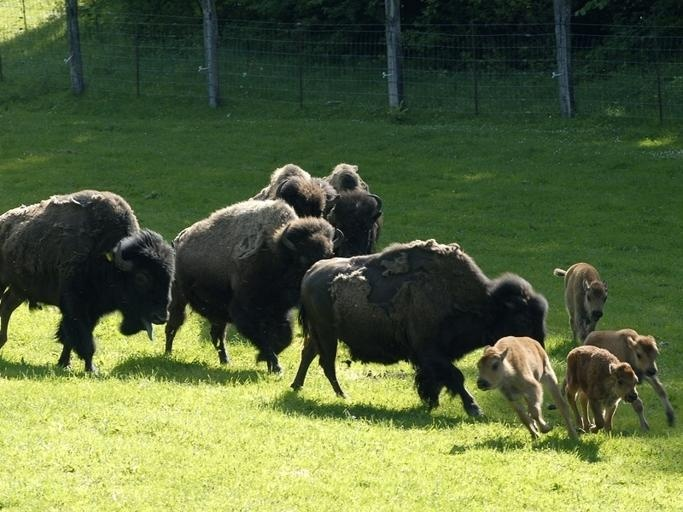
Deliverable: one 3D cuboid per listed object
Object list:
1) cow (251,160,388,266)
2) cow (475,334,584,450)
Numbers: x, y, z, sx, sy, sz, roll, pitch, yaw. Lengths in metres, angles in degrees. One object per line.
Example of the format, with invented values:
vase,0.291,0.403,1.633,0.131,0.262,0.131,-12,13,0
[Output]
cow,-0.299,-1.303,35.025,1.703,2.362,4.386,2,0,-15
cow,4.095,2.917,30.090,2.070,2.111,1.078,-1,10,5
